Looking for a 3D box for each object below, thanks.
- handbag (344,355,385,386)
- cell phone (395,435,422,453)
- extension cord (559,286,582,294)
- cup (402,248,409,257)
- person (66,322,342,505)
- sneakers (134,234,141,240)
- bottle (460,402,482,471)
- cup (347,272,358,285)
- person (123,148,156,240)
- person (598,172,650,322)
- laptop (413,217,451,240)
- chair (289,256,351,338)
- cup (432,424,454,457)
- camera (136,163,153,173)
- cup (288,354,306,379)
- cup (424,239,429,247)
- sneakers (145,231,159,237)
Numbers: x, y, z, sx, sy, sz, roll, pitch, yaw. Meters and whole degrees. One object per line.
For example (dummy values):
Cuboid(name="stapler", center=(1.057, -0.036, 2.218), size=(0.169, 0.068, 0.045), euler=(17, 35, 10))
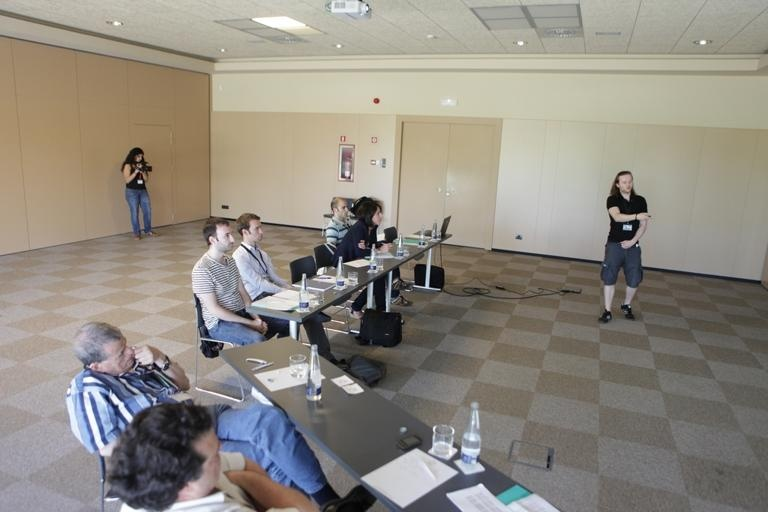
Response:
Cuboid(name="handbag", center=(-0.257, 1.398, 6.077), size=(0.376, 0.132, 0.313), euler=(24, 26, 31))
Cuboid(name="cell phone", center=(0.193, 1.460, 3.833), size=(0.191, 0.054, 0.134), euler=(-10, 17, -38))
Cuboid(name="extension cord", center=(3.532, 0.664, 9.295), size=(0.277, 0.096, 0.157), euler=(1, 6, 4))
Cuboid(name="cup", center=(0.350, -0.047, 7.816), size=(0.117, 0.157, 0.114), euler=(-1, 5, 0))
Cuboid(name="person", center=(-1.429, 1.285, 3.968), size=(2.402, 1.400, 0.965), euler=(6, 28, 0))
Cuboid(name="sneakers", center=(-5.809, -0.458, 11.554), size=(0.161, 0.112, 0.276), euler=(-5, 14, -22))
Cuboid(name="bottle", center=(0.663, 1.337, 3.757), size=(0.144, 0.463, 0.266), euler=(3, 14, 10))
Cuboid(name="cup", center=(-0.409, 0.293, 6.372), size=(0.145, 0.155, 0.141), euler=(0, 9, 0))
Cuboid(name="person", center=(-5.847, -1.512, 11.673), size=(0.602, 2.086, 0.954), euler=(-7, 16, -26))
Cuboid(name="person", center=(3.840, -0.136, 7.881), size=(0.631, 2.382, 0.913), euler=(7, 15, 24))
Cuboid(name="laptop", center=(0.925, -0.497, 9.490), size=(0.605, 0.402, 0.808), euler=(3, 9, 11))
Cuboid(name="chair", center=(-0.754, 0.415, 6.832), size=(0.880, 1.216, 0.739), euler=(7, 16, 30))
Cuboid(name="cup", center=(0.465, 1.434, 3.865), size=(0.212, 0.222, 0.209), euler=(0, 8, 0))
Cuboid(name="camera", center=(-5.602, -2.064, 11.498), size=(0.194, 0.210, 0.320), euler=(0, 13, -1))
Cuboid(name="cup", center=(-0.775, 1.001, 4.441), size=(0.188, 0.182, 0.185), euler=(1, 4, 0))
Cuboid(name="cup", center=(0.740, -0.223, 8.624), size=(0.068, 0.089, 0.094), euler=(0, 10, 13))
Cuboid(name="sneakers", center=(-5.655, -0.538, 11.948), size=(0.302, 0.112, 0.114), euler=(1, 22, -6))
